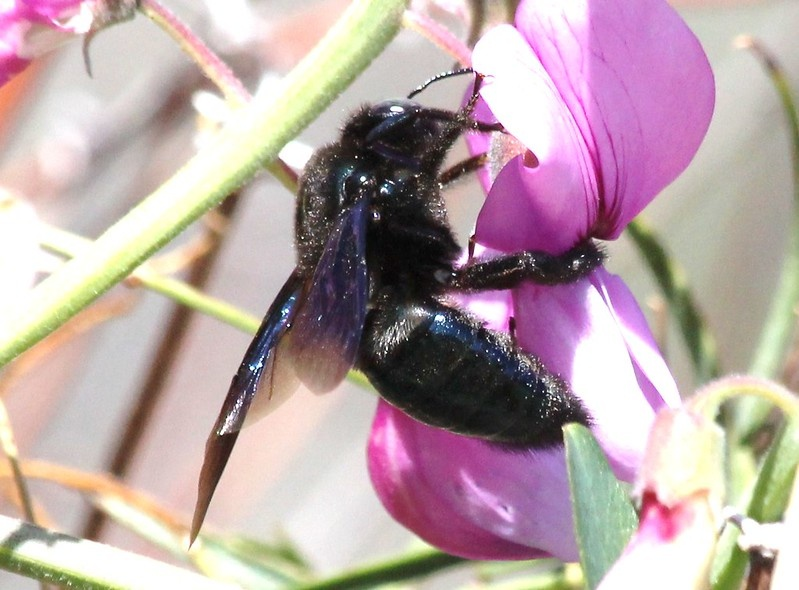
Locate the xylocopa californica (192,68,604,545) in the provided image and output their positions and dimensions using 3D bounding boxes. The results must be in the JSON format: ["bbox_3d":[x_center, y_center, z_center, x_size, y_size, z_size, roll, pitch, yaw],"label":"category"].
[{"bbox_3d":[0.032,-0.030,0.661,0.103,0.244,0.330,34,42,-13],"label":"xylocopa californica"}]
